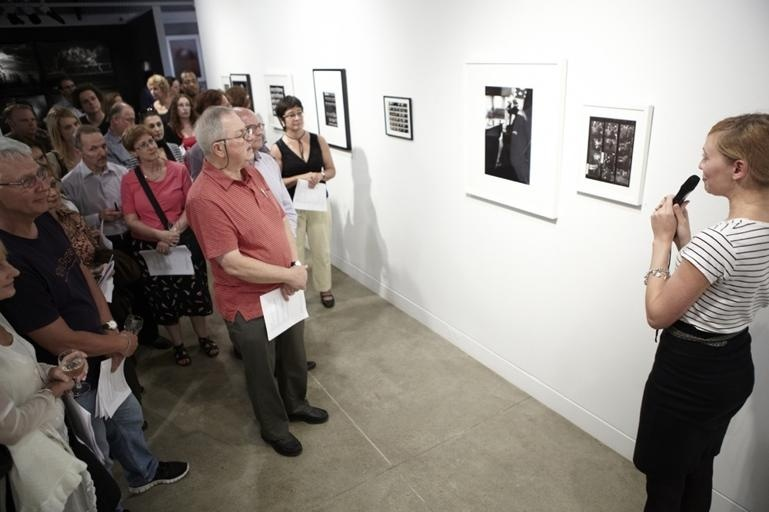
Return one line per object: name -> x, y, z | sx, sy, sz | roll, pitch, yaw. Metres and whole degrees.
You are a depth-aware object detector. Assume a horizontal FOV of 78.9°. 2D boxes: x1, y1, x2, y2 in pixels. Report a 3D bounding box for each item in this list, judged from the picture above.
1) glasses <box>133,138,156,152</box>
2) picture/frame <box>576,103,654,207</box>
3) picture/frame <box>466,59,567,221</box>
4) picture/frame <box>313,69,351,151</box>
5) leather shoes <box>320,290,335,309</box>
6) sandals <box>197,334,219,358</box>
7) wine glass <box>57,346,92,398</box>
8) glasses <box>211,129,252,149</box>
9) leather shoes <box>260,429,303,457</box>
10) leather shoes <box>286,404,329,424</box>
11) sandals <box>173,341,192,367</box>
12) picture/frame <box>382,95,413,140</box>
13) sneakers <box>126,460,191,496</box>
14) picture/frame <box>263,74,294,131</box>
glasses -> -2.128, -0.989, 4.113 | 0.137, 0.081, 0.105 | -1, 15, 35
picture/frame -> 1.540, -0.691, 3.078 | 0.070, 0.677, 0.537 | -18, 30, -35
picture/frame -> 1.042, -0.941, 3.616 | 0.084, 1.141, 1.053 | -14, 25, -30
picture/frame -> -0.625, -1.751, 5.502 | 0.103, 1.097, 0.901 | -20, 24, -31
leather shoes -> -0.671, 0.494, 5.412 | 0.101, 0.104, 0.256 | -8, 17, -17
sandals -> -1.826, 0.903, 4.813 | 0.121, 0.143, 0.323 | -37, 41, -27
wine glass -> -1.746, 0.657, 2.621 | 0.130, 0.244, 0.179 | -16, 25, -34
glasses -> -1.049, -0.822, 3.170 | 0.219, 0.062, 0.174 | -12, 27, -10
leather shoes -> -0.829, 1.444, 3.749 | 0.363, 0.158, 0.144 | 20, 26, 28
leather shoes -> -0.634, 1.315, 3.955 | 0.384, 0.156, 0.144 | -1, 20, -1
sandals -> -2.057, 0.977, 4.694 | 0.109, 0.130, 0.320 | -12, 14, -29
picture/frame -> 0.126, -1.412, 4.713 | 0.023, 0.405, 0.442 | -22, 31, -32
sneakers -> -1.702, 1.627, 3.520 | 0.430, 0.172, 0.162 | -12, 27, -36
picture/frame -> -1.541, -2.203, 6.636 | 0.033, 0.710, 0.705 | -19, 28, -34
